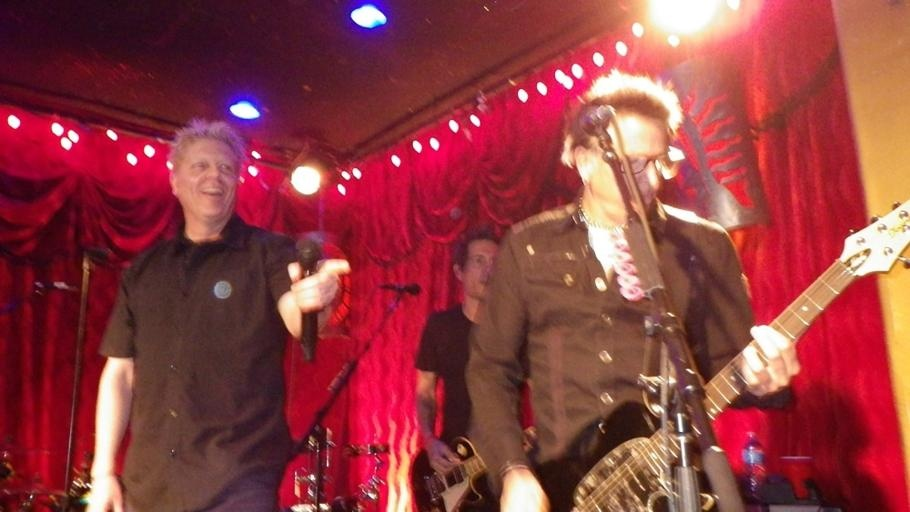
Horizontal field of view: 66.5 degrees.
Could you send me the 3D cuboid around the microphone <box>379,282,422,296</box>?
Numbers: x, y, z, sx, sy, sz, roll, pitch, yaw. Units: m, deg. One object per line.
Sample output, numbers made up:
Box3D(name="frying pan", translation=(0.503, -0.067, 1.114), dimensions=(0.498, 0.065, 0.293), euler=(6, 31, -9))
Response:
Box3D(name="microphone", translation=(-0.717, 0.423, 9.275), dimensions=(0.668, 0.180, 0.149), euler=(3, 11, 6))
